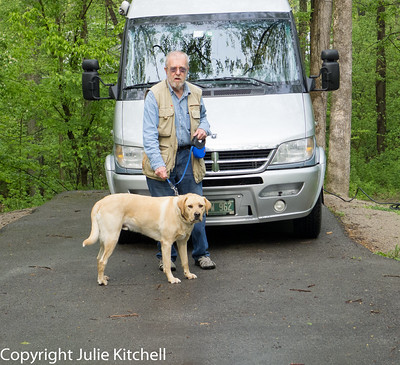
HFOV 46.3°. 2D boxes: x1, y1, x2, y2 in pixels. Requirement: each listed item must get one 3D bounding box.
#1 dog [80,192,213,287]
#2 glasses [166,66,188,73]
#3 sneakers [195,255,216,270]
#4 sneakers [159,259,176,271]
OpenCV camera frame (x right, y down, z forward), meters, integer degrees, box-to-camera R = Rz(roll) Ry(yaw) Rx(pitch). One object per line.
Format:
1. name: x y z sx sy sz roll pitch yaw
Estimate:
1. dog: -0.609 0.581 5.064 1.360 1.022 0.448 1 9 6
2. glasses: -0.229 -1.160 4.848 0.184 0.051 0.070 -1 5 -5
3. sneakers: 0.055 0.960 5.623 0.108 0.133 0.284 -3 1 -30
4. sneakers: -0.392 0.986 5.520 0.086 0.129 0.277 2 -7 -13
